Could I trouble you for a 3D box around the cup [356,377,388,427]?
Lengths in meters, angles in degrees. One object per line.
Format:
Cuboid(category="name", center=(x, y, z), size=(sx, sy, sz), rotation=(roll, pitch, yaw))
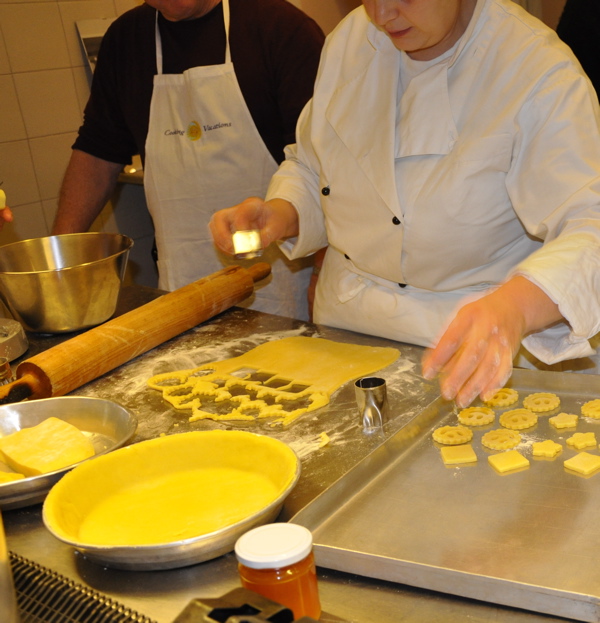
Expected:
Cuboid(category="cup", center=(0.121, 0.158, 0.970), size=(0.054, 0.077, 0.065), rotation=(1, 23, 4))
